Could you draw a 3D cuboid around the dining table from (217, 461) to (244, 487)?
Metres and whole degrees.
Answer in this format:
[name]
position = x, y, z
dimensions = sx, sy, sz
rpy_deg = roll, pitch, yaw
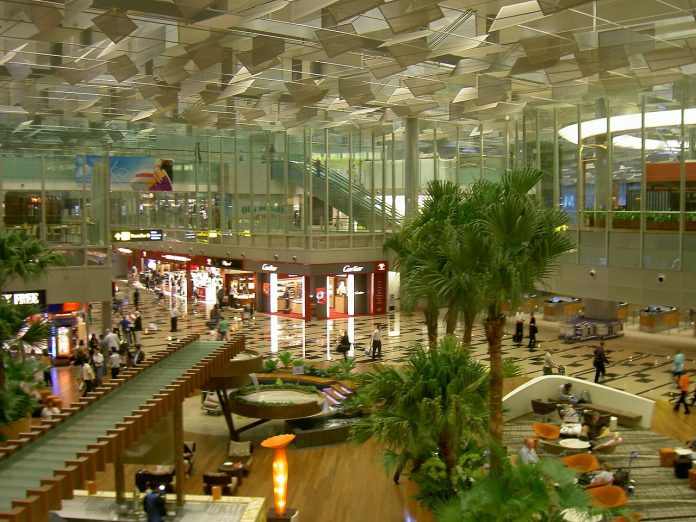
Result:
[dining table]
position = -2.371, 4.405, 11.354
dimensions = 0.685, 0.435, 0.556
rpy_deg = 0, 3, 3

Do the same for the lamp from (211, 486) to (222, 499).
[lamp]
position = -2.482, 4.315, 10.224
dimensions = 0.171, 0.240, 0.217
rpy_deg = -4, 6, -16

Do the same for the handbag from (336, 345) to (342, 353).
[handbag]
position = -0.382, 3.465, 21.559
dimensions = 0.173, 0.270, 0.252
rpy_deg = -4, 7, -17

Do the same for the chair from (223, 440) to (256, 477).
[chair]
position = -2.488, 4.443, 12.451
dimensions = 0.513, 0.378, 0.560
rpy_deg = 0, -1, -1
